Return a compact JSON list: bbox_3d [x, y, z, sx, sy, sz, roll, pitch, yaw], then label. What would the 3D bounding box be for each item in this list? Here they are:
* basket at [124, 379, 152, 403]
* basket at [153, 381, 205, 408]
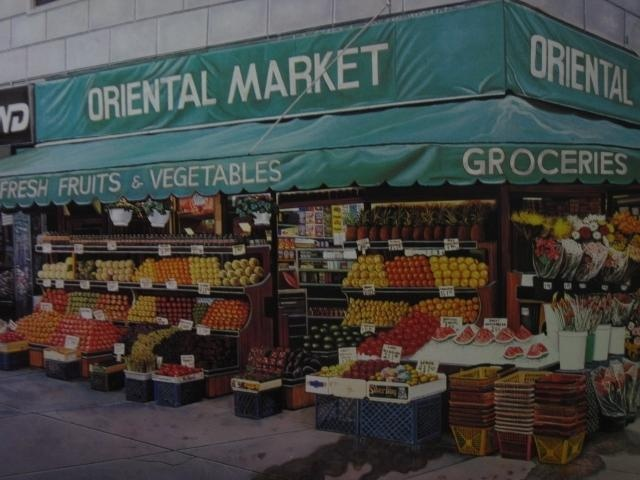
[{"bbox_3d":[-2.729,2.270,9.914,0.328,0.328,0.343,-1,-2,35],"label":"basket"},{"bbox_3d":[-2.106,2.257,9.766,0.418,0.291,0.440,1,0,34],"label":"basket"}]
